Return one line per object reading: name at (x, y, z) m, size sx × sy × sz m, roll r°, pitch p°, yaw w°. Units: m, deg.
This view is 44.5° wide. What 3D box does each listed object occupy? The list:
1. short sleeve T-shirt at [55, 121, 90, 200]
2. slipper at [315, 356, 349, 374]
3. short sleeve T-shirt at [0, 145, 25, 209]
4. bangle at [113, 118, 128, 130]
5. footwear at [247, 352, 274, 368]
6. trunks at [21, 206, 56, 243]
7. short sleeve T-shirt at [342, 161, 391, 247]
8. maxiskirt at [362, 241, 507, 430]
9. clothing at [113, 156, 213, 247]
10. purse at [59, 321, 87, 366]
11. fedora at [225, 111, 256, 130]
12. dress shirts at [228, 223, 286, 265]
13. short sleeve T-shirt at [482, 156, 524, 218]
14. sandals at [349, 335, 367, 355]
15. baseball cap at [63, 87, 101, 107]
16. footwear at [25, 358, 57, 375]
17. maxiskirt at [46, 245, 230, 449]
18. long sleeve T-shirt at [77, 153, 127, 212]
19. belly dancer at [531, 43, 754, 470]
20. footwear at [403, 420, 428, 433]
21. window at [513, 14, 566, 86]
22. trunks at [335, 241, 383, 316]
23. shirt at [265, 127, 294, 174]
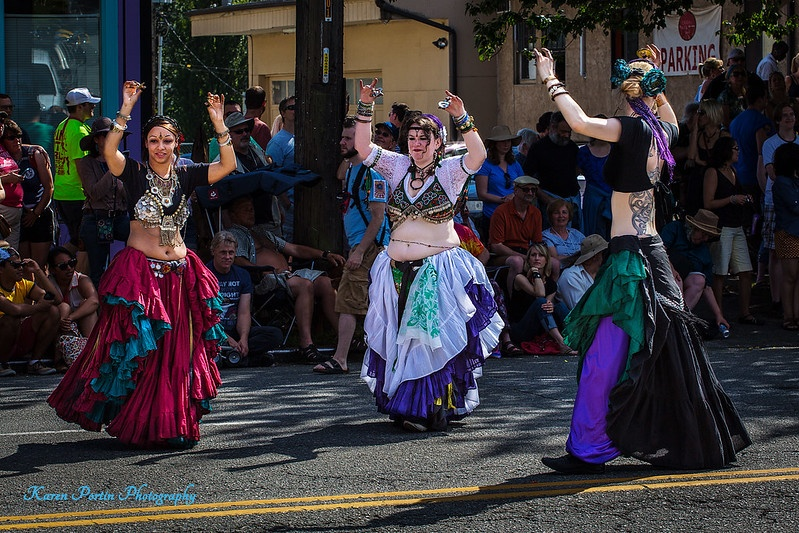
short sleeve T-shirt at (-4.000, -1.301, 12.015) m, size 0.494 × 0.974 × 0.802 m, roll -2°, pitch 10°, yaw -30°
slipper at (-0.741, 1.072, 10.630) m, size 0.319 × 0.156 × 0.154 m, roll 3°, pitch -3°, yaw -14°
short sleeve T-shirt at (-4.542, -1.038, 11.360) m, size 0.228 × 0.743 × 0.631 m, roll -2°, pitch 8°, yaw -14°
bangle at (-2.285, -1.148, 7.982) m, size 0.137 × 0.061 × 0.141 m, roll 7°, pitch -4°, yaw -15°
footwear at (-1.586, 1.079, 11.260) m, size 0.334 × 0.271 × 0.122 m, roll 2°, pitch -3°, yaw 6°
trunks at (-4.366, -0.454, 11.904) m, size 0.465 × 0.503 × 0.335 m, roll 1°, pitch -2°, yaw -28°
short sleeve T-shirt at (-0.341, -0.673, 10.594) m, size 0.466 × 1.109 × 0.835 m, roll -6°, pitch 6°, yaw -26°
maxiskirt at (0.208, 0.551, 8.944) m, size 1.255 × 1.526 × 0.967 m, roll 6°, pitch 6°, yaw 39°
clothing at (-2.183, -0.602, 8.922) m, size 0.831 × 0.805 × 0.448 m, roll 10°, pitch -25°, yaw -44°
purse at (-3.584, 0.800, 10.751) m, size 0.350 × 0.234 × 0.582 m, roll -25°, pitch 18°, yaw -18°
fedora at (-1.963, -1.809, 12.061) m, size 0.305 × 0.102 × 0.314 m, roll -20°, pitch 0°, yaw -19°
dress shirts at (-1.731, -0.322, 11.529) m, size 0.452 × 0.263 × 0.472 m, roll -16°, pitch 6°, yaw 43°
short sleeve T-shirt at (1.356, -1.040, 13.011) m, size 0.671 × 0.918 × 0.434 m, roll 4°, pitch -7°, yaw -13°
sandals at (-0.507, 0.956, 11.955) m, size 0.279 × 0.167 × 0.403 m, roll 1°, pitch 4°, yaw 0°
baseball cap at (-3.965, -2.102, 12.341) m, size 0.514 × 0.283 × 0.368 m, roll -2°, pitch 13°, yaw -21°
footwear at (-3.892, 1.091, 10.629) m, size 0.345 × 0.170 × 0.146 m, roll 1°, pitch 1°, yaw 9°
maxiskirt at (-2.192, 0.810, 8.605) m, size 1.471 × 1.876 × 1.453 m, roll -9°, pitch -18°, yaw 35°
long sleeve T-shirt at (-3.228, -0.916, 10.666) m, size 0.413 × 0.668 × 0.528 m, roll -5°, pitch 10°, yaw 28°
belly dancer at (1.758, -0.028, 7.289) m, size 1.325 × 3.128 × 0.530 m, roll -1°, pitch 7°, yaw -7°
footwear at (0.136, 1.391, 8.542) m, size 0.219 × 0.115 × 0.086 m, roll 5°, pitch 10°, yaw 5°
window at (3.644, -5.561, 25.195) m, size 1.444 × 1.900 × 0.094 m, roll 0°, pitch -14°, yaw 8°
trunks at (-0.458, 0.216, 10.942) m, size 0.569 × 1.167 × 0.821 m, roll 6°, pitch -3°, yaw -3°
shirt at (-1.634, -1.614, 13.608) m, size 0.344 × 0.508 × 0.681 m, roll 17°, pitch 21°, yaw 8°
